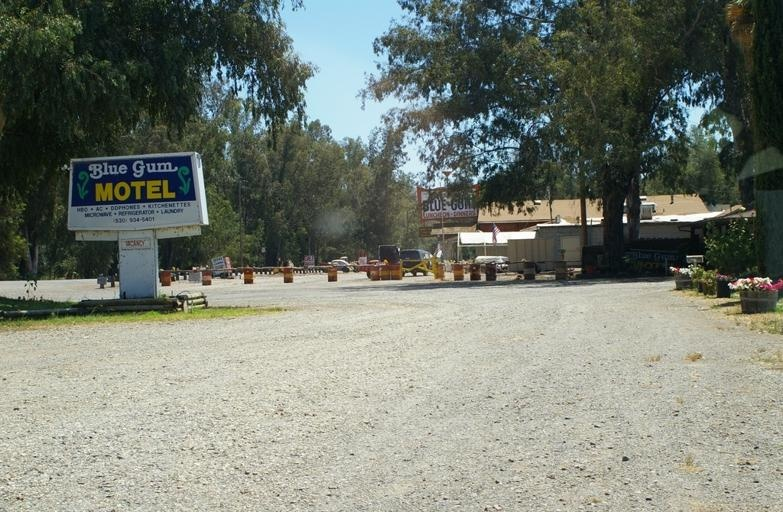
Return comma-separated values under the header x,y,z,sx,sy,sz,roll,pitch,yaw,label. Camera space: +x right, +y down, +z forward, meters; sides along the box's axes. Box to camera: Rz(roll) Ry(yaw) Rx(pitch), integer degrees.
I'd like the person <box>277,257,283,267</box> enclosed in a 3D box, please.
x,y,z,sx,sy,sz,roll,pitch,yaw,label
-12.592,0.532,111.508,0.468,0.911,1.209,-4,-1,-7,person

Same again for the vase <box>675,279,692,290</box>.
x,y,z,sx,sy,sz,roll,pitch,yaw,label
11.899,1.154,39.921,0.405,0.451,0.439,1,3,13,vase

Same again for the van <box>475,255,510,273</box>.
x,y,z,sx,sy,sz,roll,pitch,yaw,label
6.843,0.501,65.255,1.990,1.103,10.117,-5,-1,7,van

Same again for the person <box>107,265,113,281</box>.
x,y,z,sx,sy,sz,roll,pitch,yaw,label
-22.346,1.302,78.134,0.376,0.447,1.936,9,-28,-9,person

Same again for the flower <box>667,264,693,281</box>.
x,y,z,sx,sy,sz,roll,pitch,yaw,label
11.992,0.701,40.546,1.181,0.478,1.252,1,-2,3,flower

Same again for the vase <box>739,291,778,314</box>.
x,y,z,sx,sy,sz,roll,pitch,yaw,label
11.521,1.425,30.743,0.757,0.505,0.775,-3,-6,39,vase
